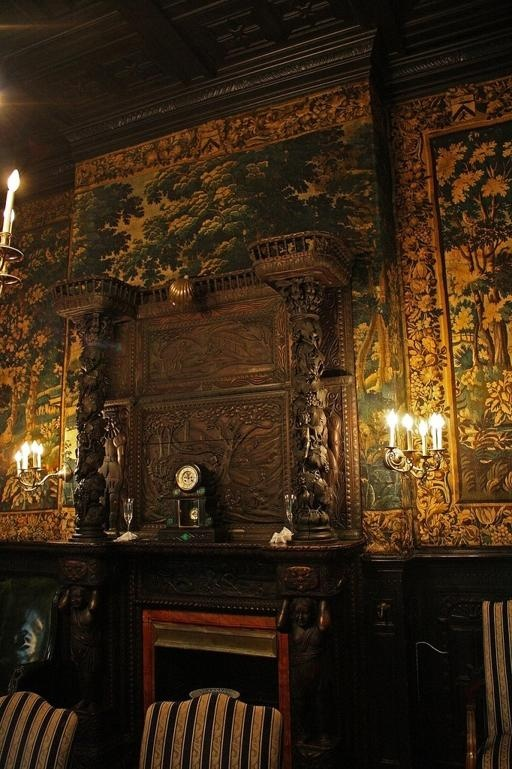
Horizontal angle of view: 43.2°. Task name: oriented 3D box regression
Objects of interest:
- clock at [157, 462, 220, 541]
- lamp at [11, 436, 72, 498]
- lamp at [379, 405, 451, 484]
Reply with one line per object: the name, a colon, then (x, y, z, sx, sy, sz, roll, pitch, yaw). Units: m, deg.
clock: (-0.425, 0.720, 3.984, 0.349, 0.480, 0.392, 1, -12, -7)
lamp: (-1.544, 0.591, 4.718, 0.330, 0.360, 0.274, 3, -3, -21)
lamp: (0.891, 0.303, 3.536, 0.291, 0.345, 0.238, 4, 9, 35)
